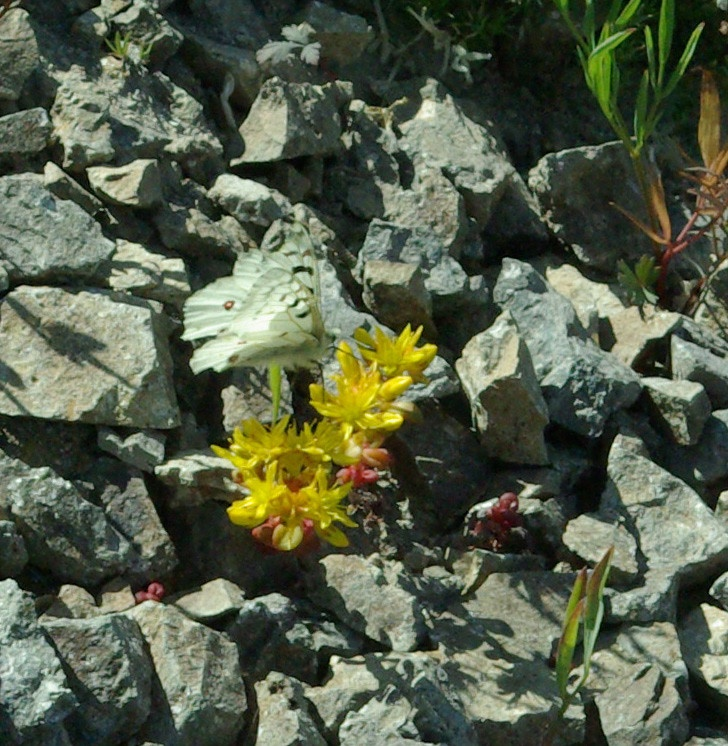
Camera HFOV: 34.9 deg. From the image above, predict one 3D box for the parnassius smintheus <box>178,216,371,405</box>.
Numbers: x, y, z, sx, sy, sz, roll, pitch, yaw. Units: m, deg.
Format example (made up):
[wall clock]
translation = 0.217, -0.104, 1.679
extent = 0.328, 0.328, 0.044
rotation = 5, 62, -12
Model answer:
[parnassius smintheus]
translation = -0.444, -0.207, 4.713
extent = 0.624, 0.810, 0.430
rotation = -20, 68, -9
